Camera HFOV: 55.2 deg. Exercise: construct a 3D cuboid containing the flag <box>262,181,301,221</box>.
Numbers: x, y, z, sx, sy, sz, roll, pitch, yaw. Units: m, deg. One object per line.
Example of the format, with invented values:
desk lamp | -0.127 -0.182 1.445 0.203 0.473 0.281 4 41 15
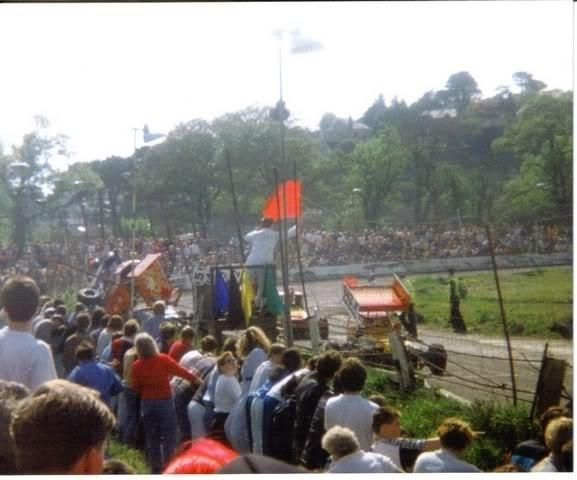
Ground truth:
flag | -0.105 -0.539 7.667 0.560 0.643 0.040 -1 -29 -2
